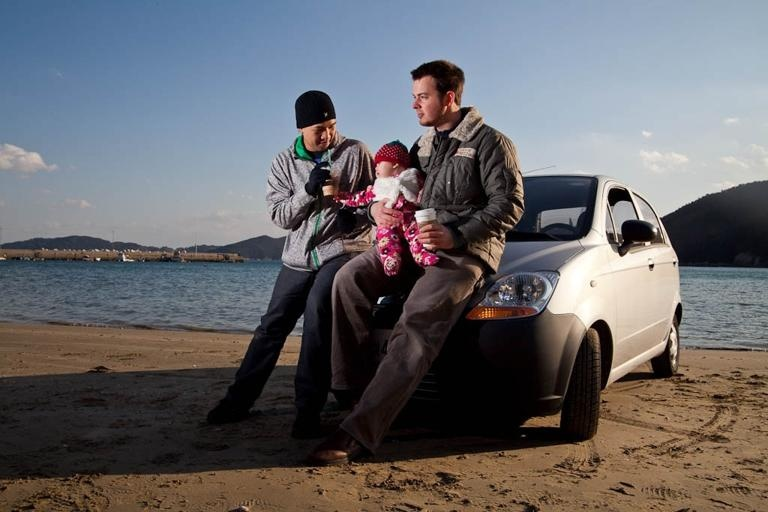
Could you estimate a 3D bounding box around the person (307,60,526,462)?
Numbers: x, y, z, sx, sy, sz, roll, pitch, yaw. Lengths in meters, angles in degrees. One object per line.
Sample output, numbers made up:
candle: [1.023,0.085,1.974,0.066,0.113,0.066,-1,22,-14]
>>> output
person: [0.255,-0.012,3.700,1.455,2.590,0.684,3,-1,-8]

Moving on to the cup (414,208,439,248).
cup: [0.284,-0.235,3.400,0.123,0.213,0.100,3,-1,24]

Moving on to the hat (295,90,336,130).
hat: [-0.626,-1.303,4.222,0.429,0.312,0.432,-14,14,-14]

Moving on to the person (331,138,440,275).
person: [0.082,-0.346,3.753,1.007,0.908,0.350,-3,-6,6]

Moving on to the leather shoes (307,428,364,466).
leather shoes: [-0.335,1.374,3.443,0.396,0.150,0.179,8,-12,-35]

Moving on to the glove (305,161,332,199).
glove: [-0.532,-0.646,4.094,0.208,0.284,0.303,20,17,-5]
